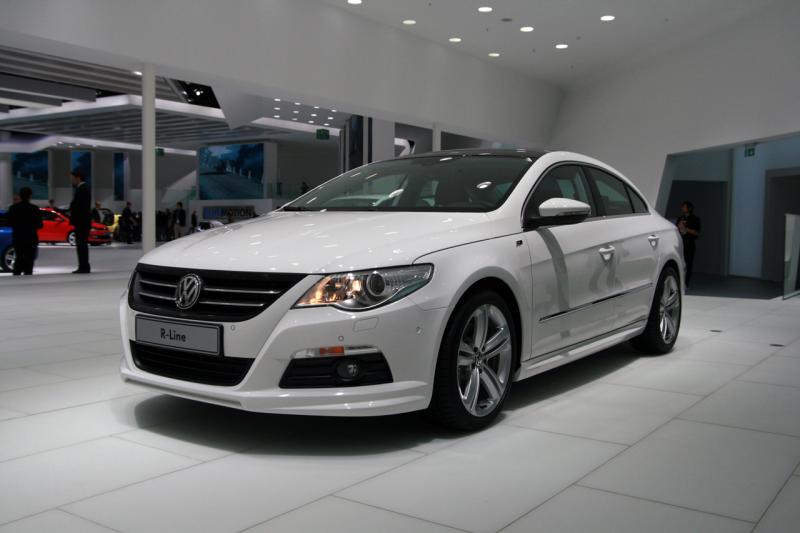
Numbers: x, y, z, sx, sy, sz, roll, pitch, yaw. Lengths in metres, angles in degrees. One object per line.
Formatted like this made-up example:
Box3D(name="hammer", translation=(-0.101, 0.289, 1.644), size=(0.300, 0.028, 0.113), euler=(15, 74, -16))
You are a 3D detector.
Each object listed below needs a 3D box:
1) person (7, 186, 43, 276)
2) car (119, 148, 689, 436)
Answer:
Box3D(name="person", translation=(-9.683, -0.946, 11.429), size=(0.666, 2.263, 1.011), euler=(-2, 3, -41))
Box3D(name="car", translation=(0.036, 0.018, 3.137), size=(3.421, 1.977, 1.386), euler=(-1, 3, -33))
